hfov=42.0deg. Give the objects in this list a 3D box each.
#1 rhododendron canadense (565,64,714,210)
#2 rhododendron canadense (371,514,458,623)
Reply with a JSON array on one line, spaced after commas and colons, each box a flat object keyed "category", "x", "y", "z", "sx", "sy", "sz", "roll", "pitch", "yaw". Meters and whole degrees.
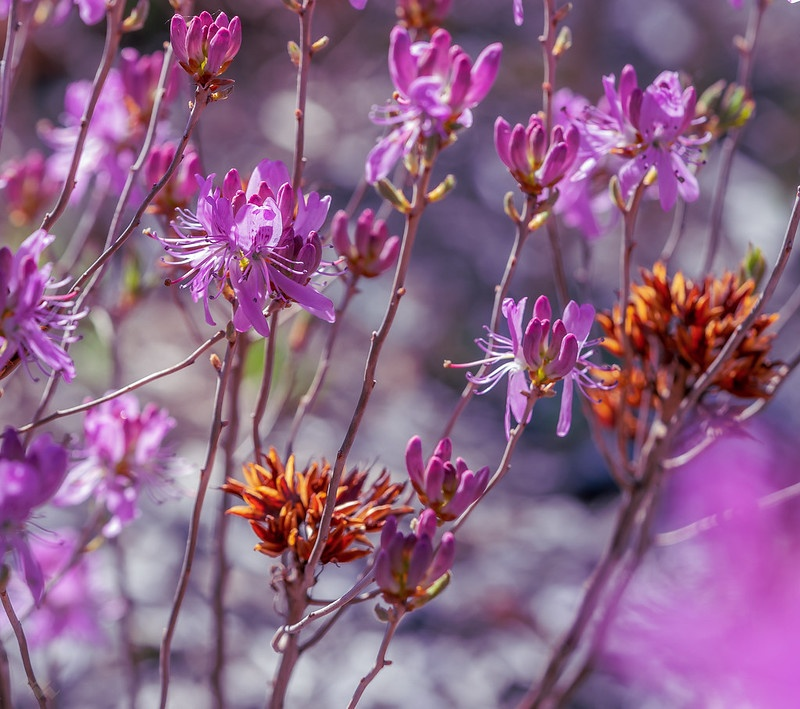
[{"category": "rhododendron canadense", "x": 0.300, "y": -0.284, "z": 1.252, "sx": 0.140, "sy": 0.151, "sz": 0.130, "roll": -11, "pitch": 96, "yaw": -15}, {"category": "rhododendron canadense", "x": 0.007, "y": 0.246, "z": 1.157, "sx": 0.064, "sy": 0.083, "sz": 0.145, "roll": 8, "pitch": 98, "yaw": -6}]
